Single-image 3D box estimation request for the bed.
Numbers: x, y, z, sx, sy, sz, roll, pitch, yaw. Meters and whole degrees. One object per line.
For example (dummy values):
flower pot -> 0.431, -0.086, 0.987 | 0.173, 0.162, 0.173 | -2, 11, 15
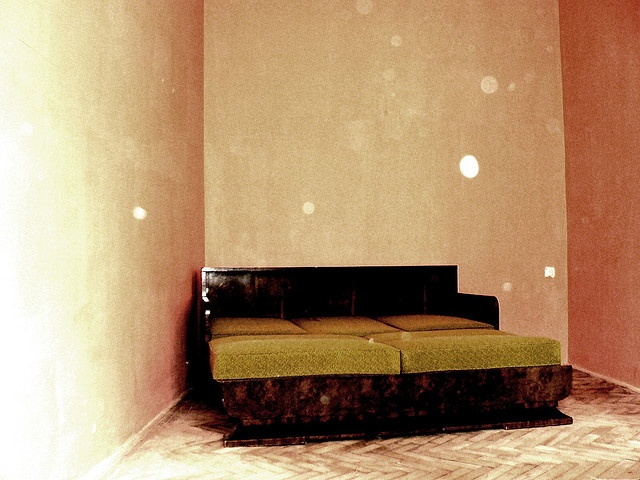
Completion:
bed -> 0.308, 0.669, 4.222 | 2.173, 0.941, 1.561 | 0, -1, -11
